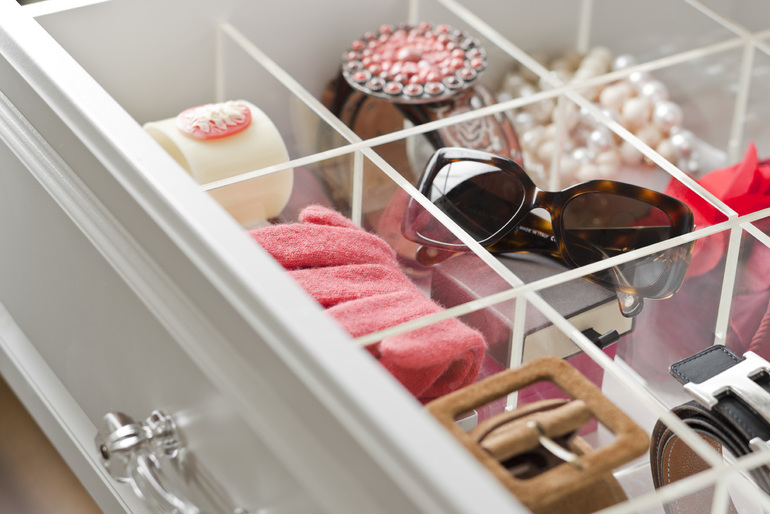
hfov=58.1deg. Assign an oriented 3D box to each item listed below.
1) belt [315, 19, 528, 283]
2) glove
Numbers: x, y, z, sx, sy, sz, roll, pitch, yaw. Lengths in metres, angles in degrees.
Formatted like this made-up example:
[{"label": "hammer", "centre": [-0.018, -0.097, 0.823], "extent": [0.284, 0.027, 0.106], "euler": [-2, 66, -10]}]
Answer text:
[{"label": "belt", "centre": [0.035, -0.103, 0.720], "extent": [0.120, 0.218, 0.188], "euler": [-22, 48, -21]}, {"label": "glove", "centre": [-0.022, 0.023, 0.577], "extent": [0.127, 0.062, 0.185], "euler": [-15, 46, -41]}]
